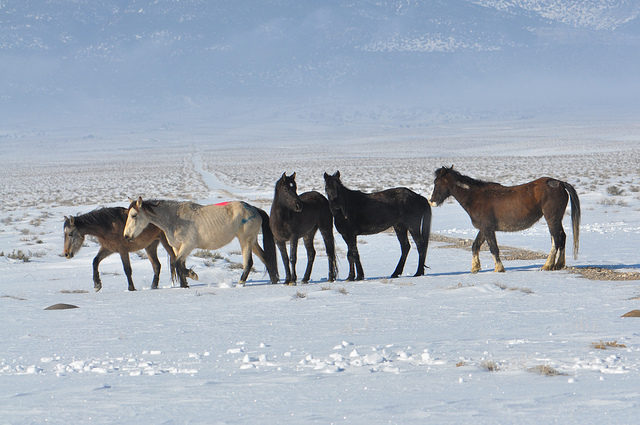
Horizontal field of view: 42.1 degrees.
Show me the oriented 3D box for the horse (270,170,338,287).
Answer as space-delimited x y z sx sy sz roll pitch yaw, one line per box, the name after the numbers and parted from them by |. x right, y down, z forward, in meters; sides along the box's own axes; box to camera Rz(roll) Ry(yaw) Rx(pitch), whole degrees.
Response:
-0.407 0.395 20.680 1.444 2.844 1.011 -9 9 -36 | horse

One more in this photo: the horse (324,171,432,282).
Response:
1.398 0.393 21.337 3.831 2.613 0.902 0 -2 -36 | horse
